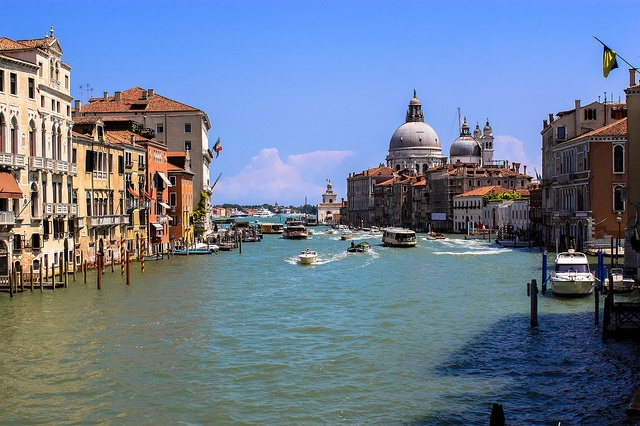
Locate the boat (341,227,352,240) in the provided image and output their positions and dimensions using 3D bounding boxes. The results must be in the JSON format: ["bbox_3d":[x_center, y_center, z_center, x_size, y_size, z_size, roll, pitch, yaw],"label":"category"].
[{"bbox_3d":[5.287,4.187,214.087,1.506,1.536,6.202,-1,-3,5],"label":"boat"}]

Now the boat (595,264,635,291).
[{"bbox_3d":[25.037,5.566,89.205,3.999,1.892,2.175,-4,0,7],"label":"boat"}]

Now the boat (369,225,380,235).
[{"bbox_3d":[11.096,3.661,216.076,1.600,1.209,3.207,2,2,-3],"label":"boat"}]

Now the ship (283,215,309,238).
[{"bbox_3d":[-5.147,3.028,233.150,5.177,4.705,15.319,0,4,-5],"label":"ship"}]

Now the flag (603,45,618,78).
[{"bbox_3d":[22.150,-11.516,80.881,0.914,2.438,2.213,4,15,13],"label":"flag"}]

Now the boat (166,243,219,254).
[{"bbox_3d":[-15.781,4.418,131.097,5.354,1.124,1.528,-1,-4,-2],"label":"boat"}]
